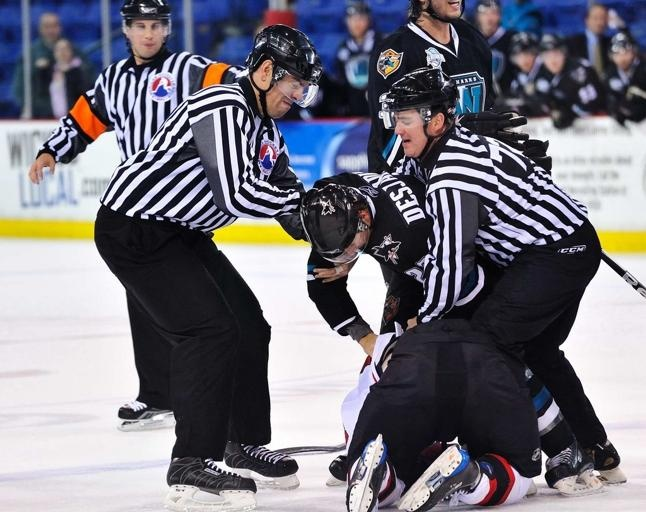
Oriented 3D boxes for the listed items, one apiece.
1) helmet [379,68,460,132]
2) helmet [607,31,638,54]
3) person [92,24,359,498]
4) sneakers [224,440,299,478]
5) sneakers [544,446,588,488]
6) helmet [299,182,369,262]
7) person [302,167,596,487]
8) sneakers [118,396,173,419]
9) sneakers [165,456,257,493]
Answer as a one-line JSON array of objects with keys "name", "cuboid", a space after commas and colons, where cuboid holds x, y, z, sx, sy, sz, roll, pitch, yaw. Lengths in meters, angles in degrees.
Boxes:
[{"name": "helmet", "cuboid": [0.366, -0.565, 3.244, 0.273, 0.195, 0.213, -6, 3, -22]}, {"name": "helmet", "cuboid": [2.814, -2.016, 8.358, 0.168, 0.227, 0.141, -19, 50, 7]}, {"name": "person", "cuboid": [-0.366, 0.051, 3.248, 0.768, 1.758, 0.599, -7, 11, -31]}, {"name": "sneakers", "cuboid": [-0.260, 0.772, 3.424, 0.343, 0.135, 0.117, -7, -3, 39]}, {"name": "sneakers", "cuboid": [0.924, 0.749, 3.256, 0.123, 0.080, 0.243, 47, 28, 25]}, {"name": "helmet", "cuboid": [0.029, -0.120, 3.035, 0.200, 0.226, 0.255, -9, 41, 26]}, {"name": "person", "cuboid": [0.500, 0.389, 3.458, 0.634, 1.623, 0.438, -19, 11, 23]}, {"name": "sneakers", "cuboid": [-0.846, 0.711, 4.184, 0.284, 0.100, 0.093, 6, -10, -26]}, {"name": "sneakers", "cuboid": [-0.402, 0.774, 3.155, 0.345, 0.149, 0.112, 2, -9, -6]}]
